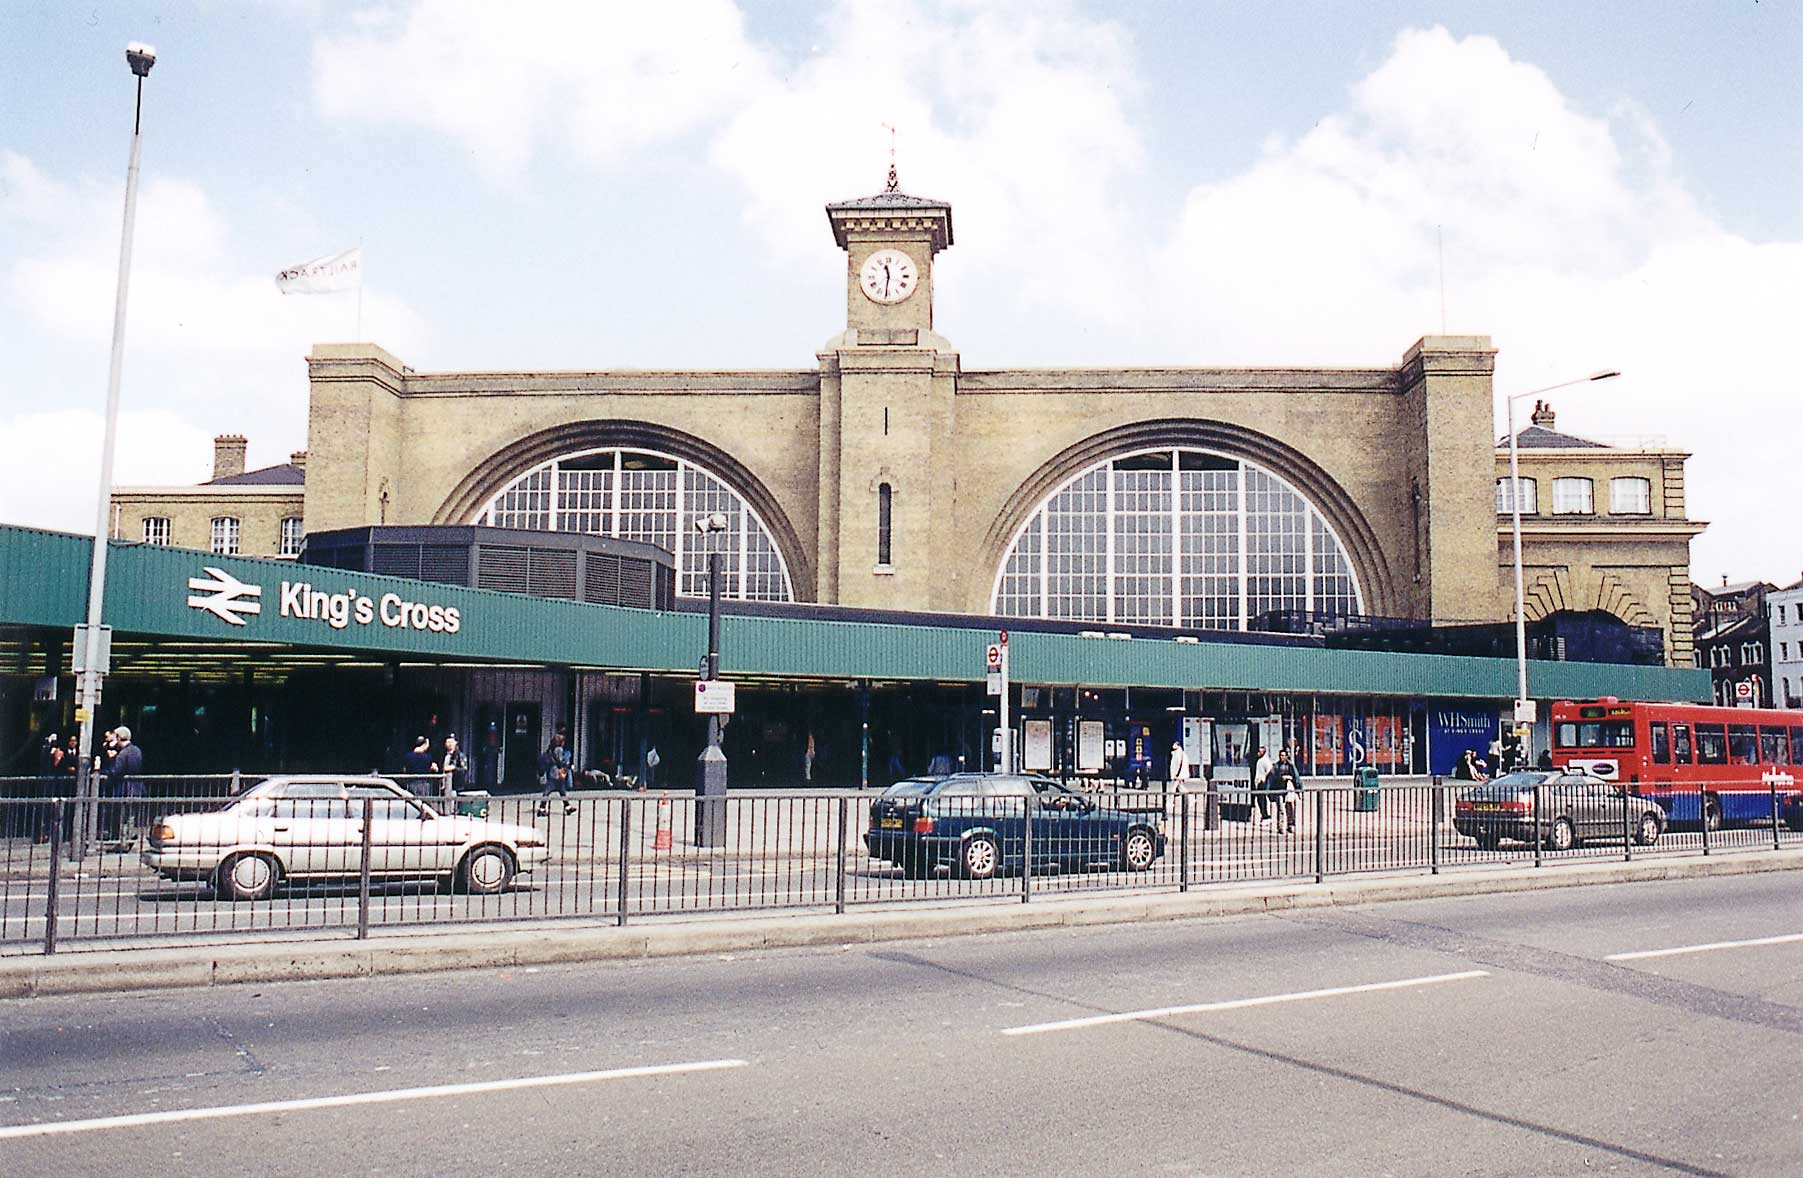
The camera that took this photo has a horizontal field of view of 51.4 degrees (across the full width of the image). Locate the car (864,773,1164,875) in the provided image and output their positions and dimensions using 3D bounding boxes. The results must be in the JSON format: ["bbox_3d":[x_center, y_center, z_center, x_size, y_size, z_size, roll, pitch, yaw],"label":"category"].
[{"bbox_3d":[2.103,3.963,30.758,4.447,1.359,1.983,0,-5,-19],"label":"car"}]

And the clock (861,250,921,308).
[{"bbox_3d":[-0.352,-10.426,63.759,1.808,1.888,0.117,5,-8,1],"label":"clock"}]

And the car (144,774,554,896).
[{"bbox_3d":[-8.219,3.680,27.197,4.814,1.564,2.265,2,-7,-25],"label":"car"}]

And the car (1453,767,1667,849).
[{"bbox_3d":[13.208,4.258,36.335,3.756,1.294,1.728,1,-5,-24],"label":"car"}]

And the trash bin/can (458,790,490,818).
[{"bbox_3d":[-6.323,3.149,27.529,0.496,0.384,0.505,0,-11,-6],"label":"trash bin/can"}]
